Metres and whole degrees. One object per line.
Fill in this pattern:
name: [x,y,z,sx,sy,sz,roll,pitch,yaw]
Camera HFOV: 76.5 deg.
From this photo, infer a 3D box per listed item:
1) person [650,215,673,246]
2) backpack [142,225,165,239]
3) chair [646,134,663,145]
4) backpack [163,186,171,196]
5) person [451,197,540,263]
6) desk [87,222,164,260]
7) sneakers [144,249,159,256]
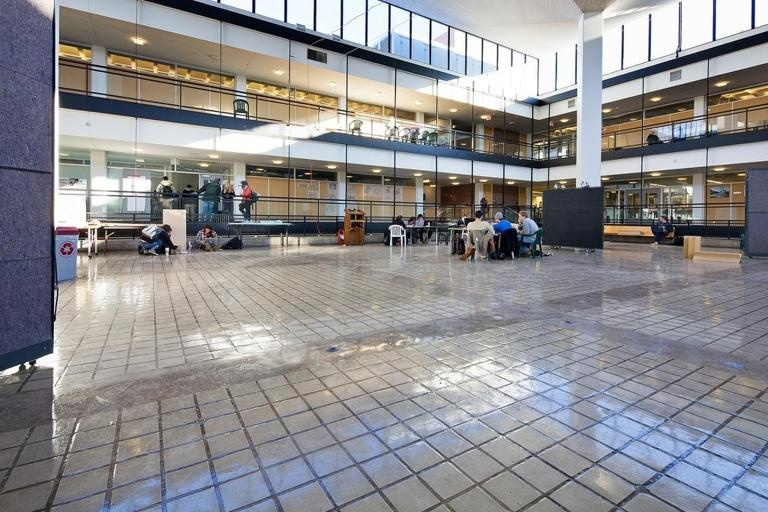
person: [11.430,-0.991,20.190,0.692,1.218,3.049,8,13,28]
backpack: [-6.538,-0.672,13.798,0.543,0.354,0.465,-6,14,-33]
chair: [11.828,-5.137,21.412,0.422,0.508,0.784,-2,12,-14]
backpack: [-6.897,-2.059,15.525,0.271,0.292,0.567,-4,13,-23]
person: [3.157,-0.665,13.777,2.073,0.981,1.472,-9,11,-35]
desk: [-7.895,-0.597,14.304,1.331,1.133,2.105,-5,13,-28]
sneakers: [-6.636,-0.118,13.787,0.495,0.205,0.190,3,12,6]
